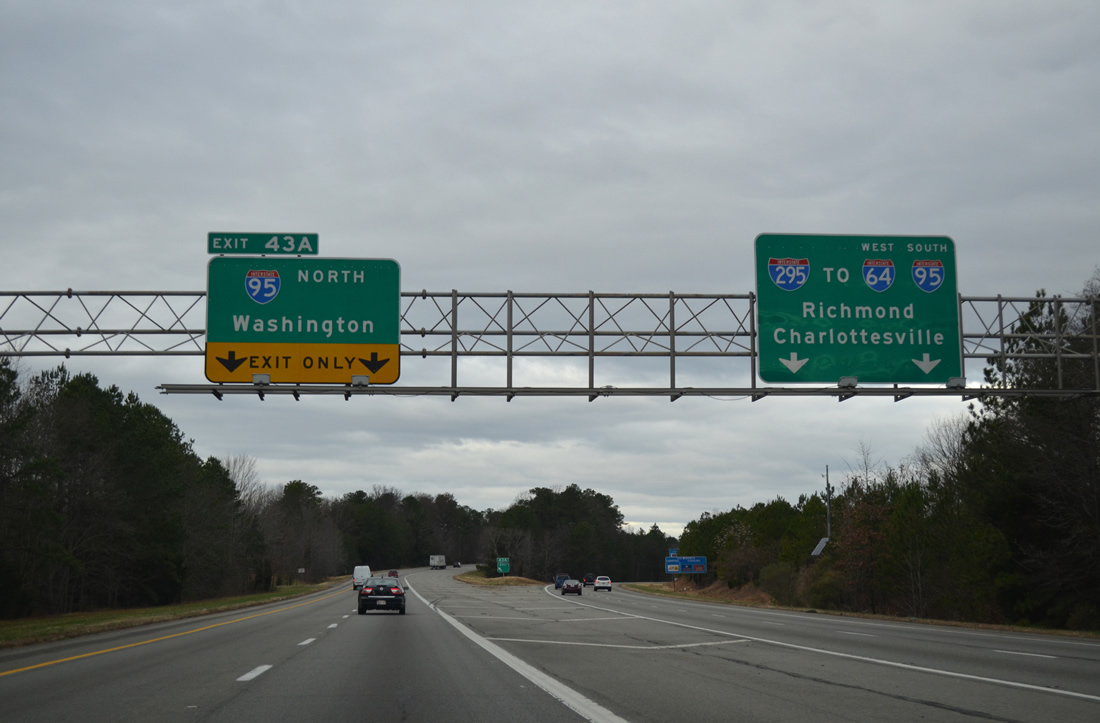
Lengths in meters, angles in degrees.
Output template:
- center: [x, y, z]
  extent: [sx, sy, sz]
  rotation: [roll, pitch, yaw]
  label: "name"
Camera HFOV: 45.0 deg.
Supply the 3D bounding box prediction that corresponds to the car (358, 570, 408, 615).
- center: [-9.455, 13.099, 73.795]
  extent: [2.444, 1.912, 2.683]
  rotation: [0, -8, -13]
  label: "car"
